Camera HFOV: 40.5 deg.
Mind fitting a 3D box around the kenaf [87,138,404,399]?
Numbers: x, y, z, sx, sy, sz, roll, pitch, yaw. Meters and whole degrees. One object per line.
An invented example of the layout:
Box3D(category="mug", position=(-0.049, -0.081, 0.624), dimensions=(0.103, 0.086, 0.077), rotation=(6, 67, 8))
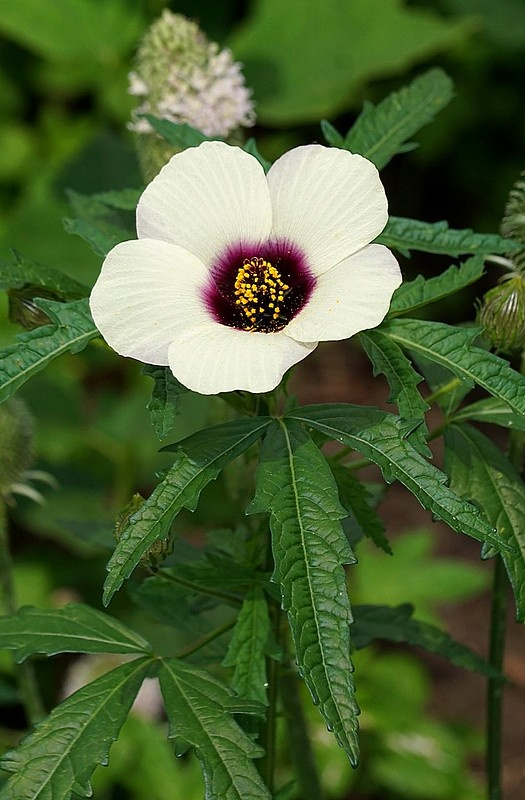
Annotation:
Box3D(category="kenaf", position=(-0.027, -0.105, 0.737), dimensions=(0.295, 0.135, 0.278), rotation=(16, 47, 27))
